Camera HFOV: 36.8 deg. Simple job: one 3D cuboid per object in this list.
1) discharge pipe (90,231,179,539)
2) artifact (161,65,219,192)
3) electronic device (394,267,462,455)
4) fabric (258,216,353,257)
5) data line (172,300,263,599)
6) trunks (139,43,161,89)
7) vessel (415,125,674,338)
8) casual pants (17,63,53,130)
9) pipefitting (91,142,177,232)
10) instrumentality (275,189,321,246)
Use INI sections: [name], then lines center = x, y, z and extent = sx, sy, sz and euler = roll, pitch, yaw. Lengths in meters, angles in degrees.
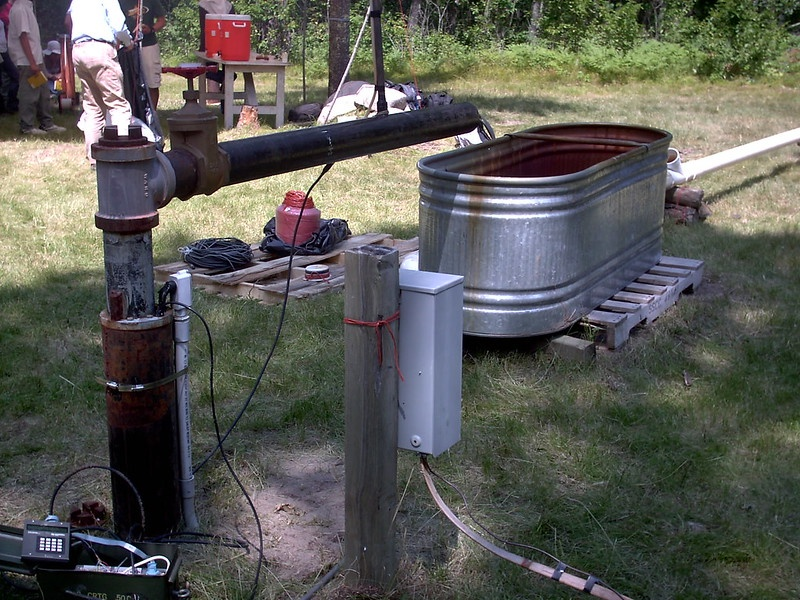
[discharge pipe]
center = -1.956, 0.513, 8.973
extent = 0.508, 2.401, 0.525
euler = -3, 14, -8
[artifact]
center = -1.529, -1.251, 8.908
extent = 0.490, 0.999, 0.400
euler = -10, 16, -38
[electronic device]
center = 0.201, 0.433, 8.660
extent = 0.457, 1.239, 0.463
euler = 1, 20, 0
[fabric]
center = -1.103, -0.722, 13.570
extent = 0.937, 0.413, 1.241
euler = -4, 0, 14
[data line]
center = -1.304, 1.121, 9.406
extent = 0.116, 2.297, 0.710
euler = -7, -5, 41
[trunks]
center = -3.558, -3.292, 17.251
extent = 0.258, 0.750, 1.605
euler = -2, 22, -11
[vessel]
center = 1.554, -0.882, 11.631
extent = 1.403, 1.277, 3.114
euler = 12, 23, 37
[casual pants]
center = -5.550, -3.066, 18.171
extent = 0.428, 1.309, 0.654
euler = 7, 33, -4
[pipefitting]
center = -1.990, -0.887, 8.783
extent = 0.501, 0.639, 0.575
euler = 11, 17, 39
[instrumentality]
center = -1.146, -0.886, 13.217
extent = 0.411, 0.690, 0.424
euler = -3, 27, -22
